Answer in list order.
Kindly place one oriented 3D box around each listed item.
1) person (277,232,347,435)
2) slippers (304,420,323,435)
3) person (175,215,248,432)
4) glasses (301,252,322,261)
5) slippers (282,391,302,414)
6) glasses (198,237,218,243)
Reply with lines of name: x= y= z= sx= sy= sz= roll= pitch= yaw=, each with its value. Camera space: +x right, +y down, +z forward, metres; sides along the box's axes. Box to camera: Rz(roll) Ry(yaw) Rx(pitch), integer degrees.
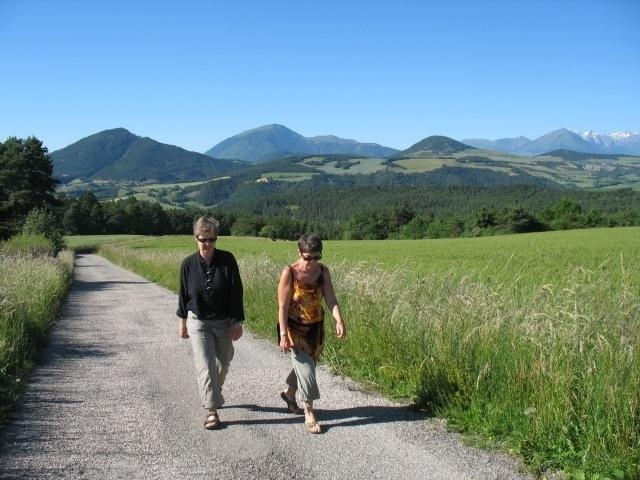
person: x=-0.145 y=1.141 z=6.432 sx=0.788 sy=2.461 sz=0.540 roll=0 pitch=6 yaw=-6
slippers: x=-0.072 y=2.329 z=6.326 sx=0.191 sy=0.121 sz=0.159 roll=1 pitch=5 yaw=-2
person: x=-1.425 y=1.002 z=6.706 sx=0.821 sy=2.596 sz=0.639 roll=6 pitch=8 yaw=44
glasses: x=-0.121 y=0.205 z=6.407 sx=0.269 sy=0.123 sz=0.235 roll=1 pitch=5 yaw=-4
slippers: x=-0.396 y=2.225 z=6.899 sx=0.150 sy=0.378 sz=0.102 roll=-2 pitch=-35 yaw=-51
glasses: x=-1.467 y=-0.005 z=6.580 sx=0.227 sy=0.078 sz=0.119 roll=-2 pitch=7 yaw=-34
